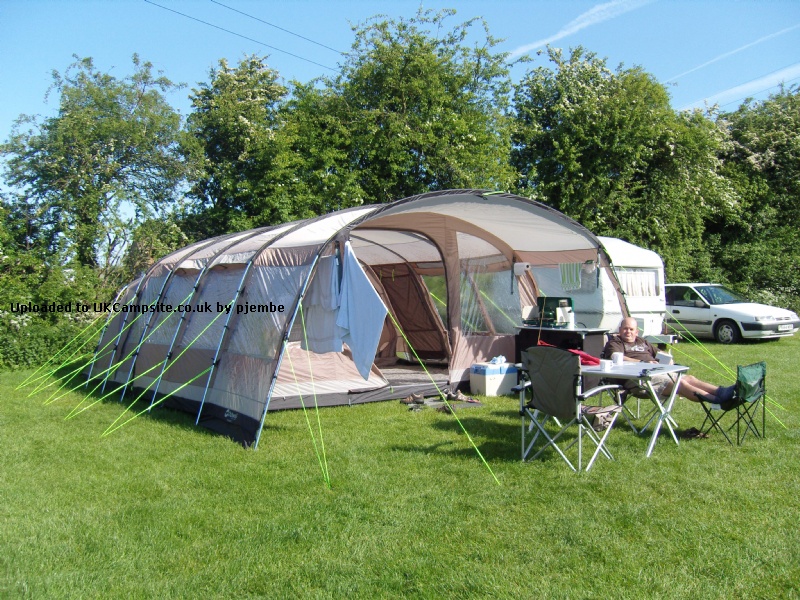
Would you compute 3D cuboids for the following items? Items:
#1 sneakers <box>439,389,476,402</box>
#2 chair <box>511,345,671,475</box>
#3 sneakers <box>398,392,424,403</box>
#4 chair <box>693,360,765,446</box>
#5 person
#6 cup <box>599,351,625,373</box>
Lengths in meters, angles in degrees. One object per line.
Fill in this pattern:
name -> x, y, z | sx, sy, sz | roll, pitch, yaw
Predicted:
sneakers -> 0.885, 1.493, 10.493 | 0.553, 0.212, 0.187 | 4, -6, 8
chair -> 2.117, 1.164, 8.147 | 1.559, 1.064, 1.558 | -3, 3, -42
sneakers -> 0.216, 1.511, 10.400 | 0.259, 0.096, 0.165 | -1, 5, -44
chair -> 4.056, 1.225, 8.329 | 0.788, 0.970, 0.809 | -3, 7, 0
person -> 3.491, 0.701, 8.880 | 0.902, 1.080, 1.896 | -4, 8, -39
cup -> 2.540, 0.740, 8.143 | 0.345, 0.255, 0.220 | -2, 0, -6
